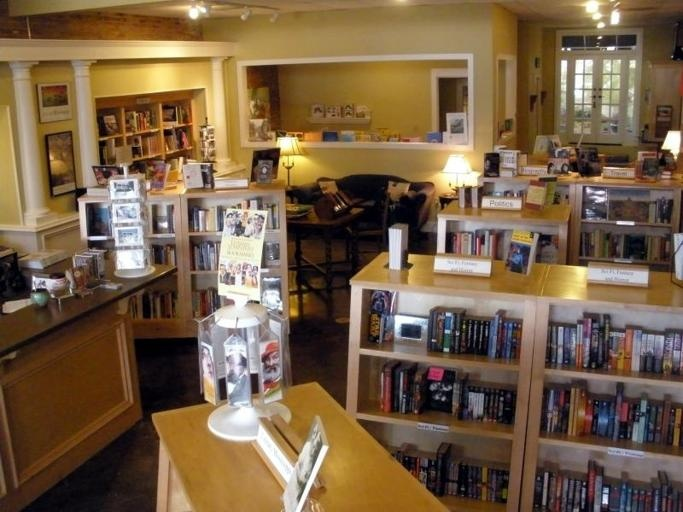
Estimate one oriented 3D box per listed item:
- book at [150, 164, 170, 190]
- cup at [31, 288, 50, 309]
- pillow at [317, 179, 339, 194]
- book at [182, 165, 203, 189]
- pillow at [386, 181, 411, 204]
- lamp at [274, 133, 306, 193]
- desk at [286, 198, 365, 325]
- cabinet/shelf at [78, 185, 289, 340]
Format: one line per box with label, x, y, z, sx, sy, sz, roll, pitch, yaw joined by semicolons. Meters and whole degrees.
book;-2.205;-0.967;6.391;0.127;0.315;0.279;7;14;30
cup;-2.410;0.352;4.247;0.136;0.119;0.144;3;4;0
pillow;-0.313;-1.465;11.187;0.507;0.498;0.200;-1;-31;-7
book;-1.784;-0.944;6.296;0.223;0.290;0.088;-5;13;-17
pillow;1.139;-1.247;10.592;0.499;0.547;0.212;9;-21;16
lamp;-1.169;-2.170;11.885;0.560;1.126;0.612;-2;12;-7
desk;-0.461;-0.021;8.806;1.209;1.226;1.548;0;12;7
cabinet/shelf;-1.533;-0.017;4.929;1.888;1.421;0.648;-1;5;-2
